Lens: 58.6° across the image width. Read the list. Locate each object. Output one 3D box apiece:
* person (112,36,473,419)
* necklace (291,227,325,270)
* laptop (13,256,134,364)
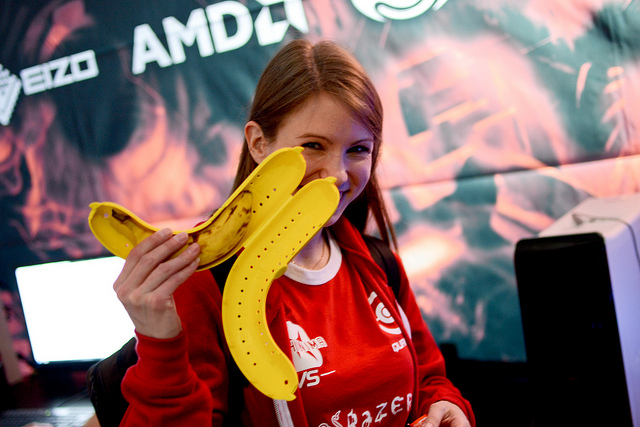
[{"bbox_3d":[-0.093,0.126,2.120,1.265,1.176,0.437,-5,-2,-32],"label":"person"},{"bbox_3d":[-0.077,0.138,2.194,0.144,0.146,0.035,-31,11,-20],"label":"necklace"},{"bbox_3d":[-1.347,0.537,3.160,0.643,0.515,0.029,-7,6,10],"label":"laptop"}]
